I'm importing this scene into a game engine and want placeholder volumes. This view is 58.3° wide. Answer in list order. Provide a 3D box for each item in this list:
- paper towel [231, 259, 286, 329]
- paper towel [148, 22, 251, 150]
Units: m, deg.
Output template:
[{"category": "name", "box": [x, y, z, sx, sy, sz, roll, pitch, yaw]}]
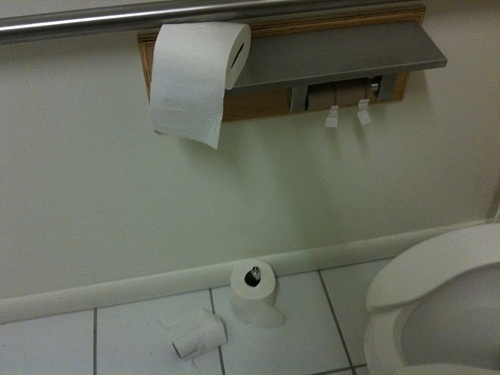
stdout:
[{"category": "paper towel", "box": [0.015, 0.288, 1.202, 0.119, 0.187, 0.136, -5, -44, -6]}, {"category": "paper towel", "box": [-0.099, -0.189, 0.836, 0.190, 0.215, 0.096, -5, -9, 3]}]
